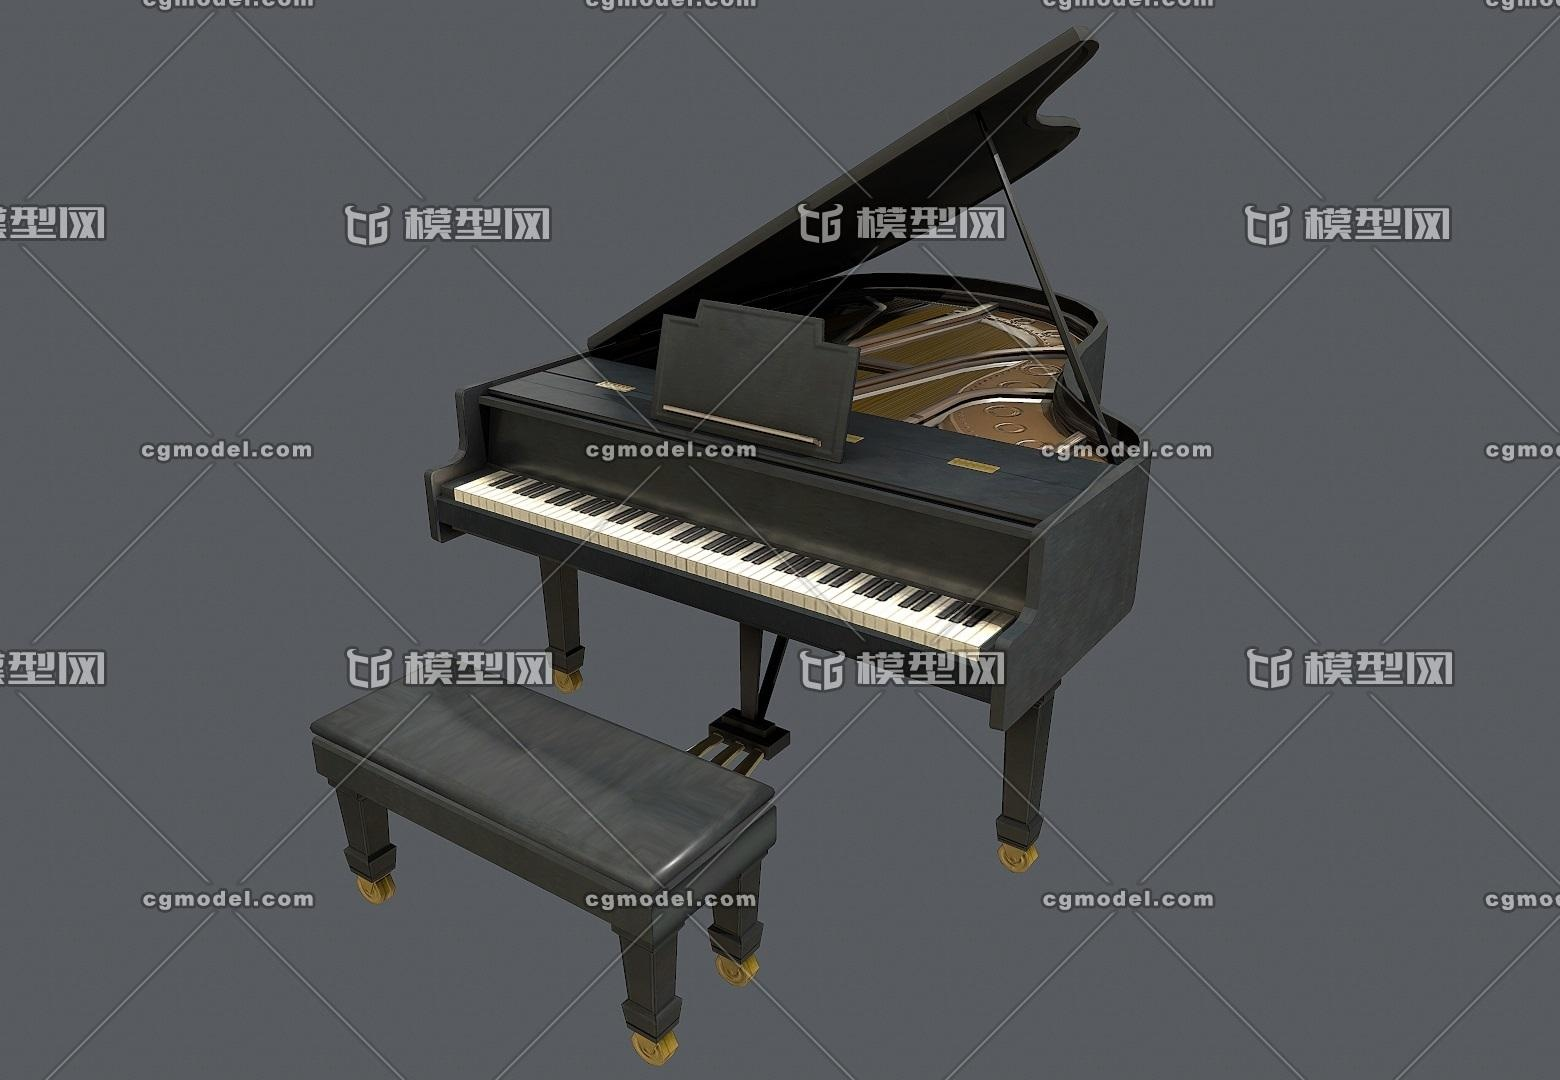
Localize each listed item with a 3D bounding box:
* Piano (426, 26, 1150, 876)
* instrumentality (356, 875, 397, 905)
[{"bbox_3d":[0.165,-0.711,5.934,3.034,3.234,3.250,12,112,33],"label":"Piano"},{"bbox_3d":[-1.521,1.303,4.671,0.122,0.067,0.087,4,75,0],"label":"instrumentality"}]
